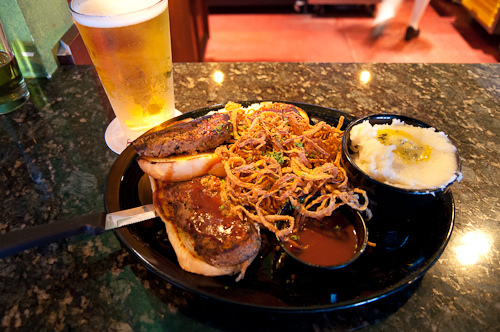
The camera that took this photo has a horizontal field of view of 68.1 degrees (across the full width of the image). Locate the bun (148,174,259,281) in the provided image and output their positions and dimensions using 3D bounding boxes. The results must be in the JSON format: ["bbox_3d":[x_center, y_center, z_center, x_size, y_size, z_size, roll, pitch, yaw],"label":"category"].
[{"bbox_3d":[-0.138,0.230,1.538,0.327,0.317,0.416,-13,22,-40],"label":"bun"}]

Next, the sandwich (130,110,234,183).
[{"bbox_3d":[-0.259,-0.090,1.542,0.367,0.126,0.297,-2,63,-5],"label":"sandwich"}]
